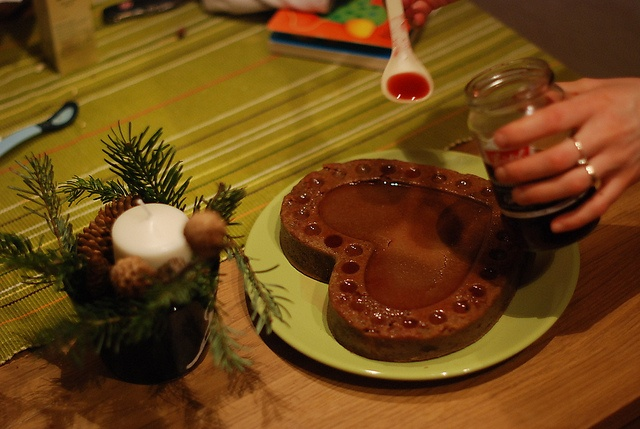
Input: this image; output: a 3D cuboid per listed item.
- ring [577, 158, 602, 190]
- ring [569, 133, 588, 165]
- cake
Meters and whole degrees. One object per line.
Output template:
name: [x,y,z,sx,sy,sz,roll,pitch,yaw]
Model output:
ring: [0.344,-0.055,0.686,0.009,0.038,0.035,-33,38,10]
ring: [0.332,-0.084,0.682,0.010,0.033,0.026,-22,22,19]
cake: [0.117,0.073,0.802,0.306,0.064,0.289,-13,49,-8]
